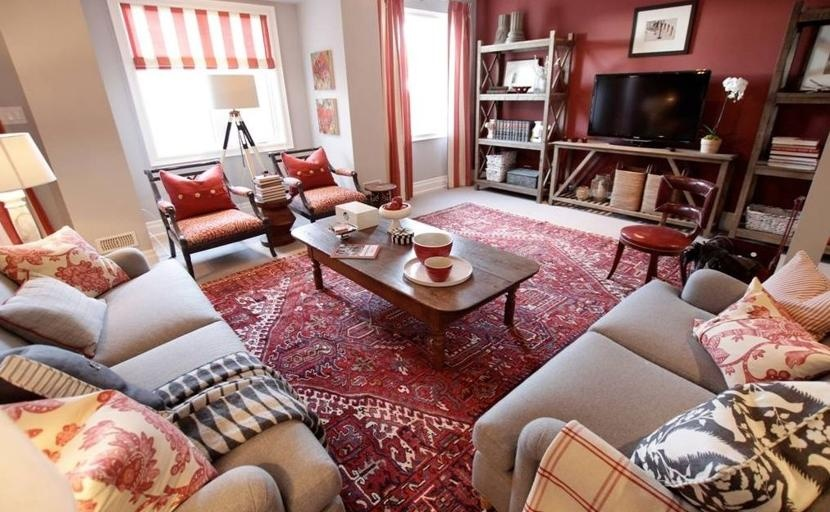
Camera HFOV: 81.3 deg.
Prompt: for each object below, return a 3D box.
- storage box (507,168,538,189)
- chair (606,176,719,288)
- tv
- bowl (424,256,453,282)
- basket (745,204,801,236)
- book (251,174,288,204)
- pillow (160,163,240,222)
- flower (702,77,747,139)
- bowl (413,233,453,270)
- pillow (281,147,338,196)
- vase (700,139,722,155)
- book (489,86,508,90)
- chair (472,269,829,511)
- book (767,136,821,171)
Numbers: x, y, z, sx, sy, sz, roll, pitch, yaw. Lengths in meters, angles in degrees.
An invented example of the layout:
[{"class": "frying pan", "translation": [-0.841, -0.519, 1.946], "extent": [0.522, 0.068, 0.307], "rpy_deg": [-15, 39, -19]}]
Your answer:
[{"class": "storage box", "translation": [1.442, -1.032, 6.495], "extent": [0.289, 0.227, 0.495], "rpy_deg": [-24, 31, -37]}, {"class": "chair", "translation": [2.289, -0.211, 4.446], "extent": [0.792, 1.127, 0.654], "rpy_deg": [-15, 35, -22]}, {"class": "tv", "translation": [2.621, -1.606, 5.320], "extent": [0.996, 0.645, 0.270], "rpy_deg": [24, 42, 38]}, {"class": "bowl", "translation": [0.176, 0.081, 3.497], "extent": [0.185, 0.134, 0.180], "rpy_deg": [-2, 24, 1]}, {"class": "basket", "translation": [3.474, -0.333, 4.703], "extent": [0.326, 0.167, 0.438], "rpy_deg": [-19, 24, -36]}, {"class": "book", "translation": [-1.530, -0.718, 5.093], "extent": [0.295, 0.173, 0.333], "rpy_deg": [-19, 27, -40]}, {"class": "pillow", "translation": [-2.207, -0.628, 4.905], "extent": [0.656, 0.458, 0.268], "rpy_deg": [-21, 34, -36]}, {"class": "flower", "translation": [3.236, -1.550, 5.049], "extent": [0.273, 0.636, 0.244], "rpy_deg": [22, 77, 29]}, {"class": "bowl", "translation": [0.119, -0.051, 3.630], "extent": [0.263, 0.156, 0.251], "rpy_deg": [-2, 21, 1]}, {"class": "pillow", "translation": [-1.234, -0.955, 5.607], "extent": [0.611, 0.532, 0.296], "rpy_deg": [-23, 25, -32]}, {"class": "vase", "translation": [3.072, -1.141, 5.068], "extent": [0.187, 0.127, 0.175], "rpy_deg": [1, 24, 4]}, {"class": "book", "translation": [1.103, -2.202, 6.400], "extent": [0.151, 0.033, 0.152], "rpy_deg": [13, 22, 40]}, {"class": "chair", "translation": [1.318, 0.757, 2.685], "extent": [1.360, 0.560, 0.593], "rpy_deg": [-28, 50, -24]}, {"class": "book", "translation": [3.607, -0.977, 4.623], "extent": [0.348, 0.277, 0.462], "rpy_deg": [-19, 27, -30]}]
